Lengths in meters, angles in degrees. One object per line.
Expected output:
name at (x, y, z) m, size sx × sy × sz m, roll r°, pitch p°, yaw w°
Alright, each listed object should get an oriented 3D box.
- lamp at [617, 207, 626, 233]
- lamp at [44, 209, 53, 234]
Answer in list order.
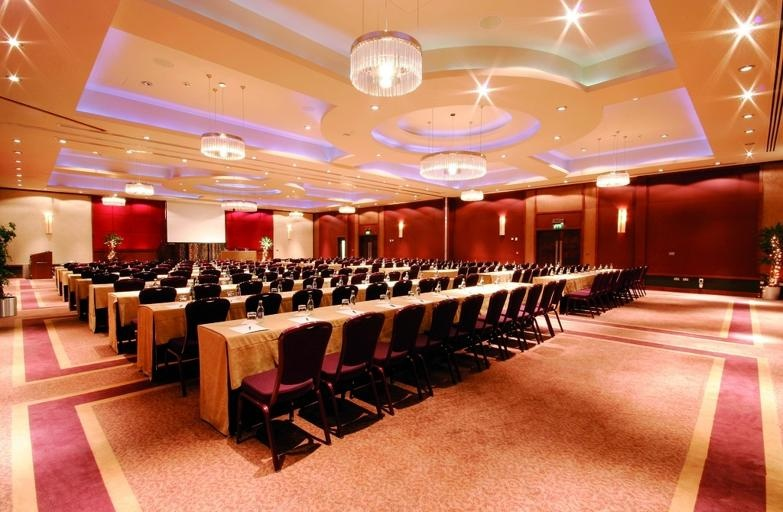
lamp at (8.597, -1.321, 17.547) m, size 0.361 × 0.966 × 0.106 m, roll 2°, pitch 3°, yaw 25°
lamp at (-14.883, -1.449, 20.554) m, size 0.330 × 1.068 × 0.154 m, roll -1°, pitch 3°, yaw -33°
